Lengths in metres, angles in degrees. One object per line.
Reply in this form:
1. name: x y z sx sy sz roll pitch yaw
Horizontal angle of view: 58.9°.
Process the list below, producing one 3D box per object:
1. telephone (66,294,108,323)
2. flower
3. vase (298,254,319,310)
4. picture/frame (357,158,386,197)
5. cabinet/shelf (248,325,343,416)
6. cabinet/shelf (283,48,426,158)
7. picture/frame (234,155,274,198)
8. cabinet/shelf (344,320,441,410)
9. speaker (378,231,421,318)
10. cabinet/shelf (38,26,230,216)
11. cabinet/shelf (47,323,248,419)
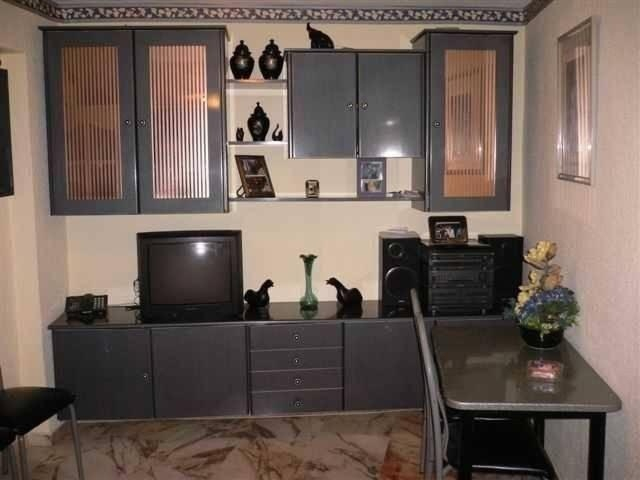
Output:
1. telephone: -1.648 0.473 3.993 0.212 0.220 0.076 4 -7 -17
2. flower: 1.231 0.318 3.494 0.494 0.767 0.502 -1 -5 10
3. vase: -0.087 0.289 4.175 0.139 0.383 0.308 -2 14 0
4. picture/frame: 0.364 -0.445 4.070 0.268 0.369 0.043 0 0 -4
5. cabinet/shelf: -0.191 0.865 3.877 0.596 0.571 0.238 0 2 -3
6. cabinet/shelf: 0.225 -0.957 3.879 0.712 0.549 0.259 -1 5 -4
7. picture/frame: -0.469 -0.462 4.062 0.253 0.300 0.283 -4 14 -8
8. cabinet/shelf: 0.432 0.888 4.050 0.632 0.616 0.355 0 -5 -8
9. speaker: 0.579 0.231 4.051 0.312 0.518 0.516 -1 14 6
10. cabinet/shelf: -1.303 -0.855 3.833 1.195 1.243 0.462 1 7 -1
11. cabinet/shelf: -1.139 0.910 4.017 1.329 0.697 0.410 -2 3 0
